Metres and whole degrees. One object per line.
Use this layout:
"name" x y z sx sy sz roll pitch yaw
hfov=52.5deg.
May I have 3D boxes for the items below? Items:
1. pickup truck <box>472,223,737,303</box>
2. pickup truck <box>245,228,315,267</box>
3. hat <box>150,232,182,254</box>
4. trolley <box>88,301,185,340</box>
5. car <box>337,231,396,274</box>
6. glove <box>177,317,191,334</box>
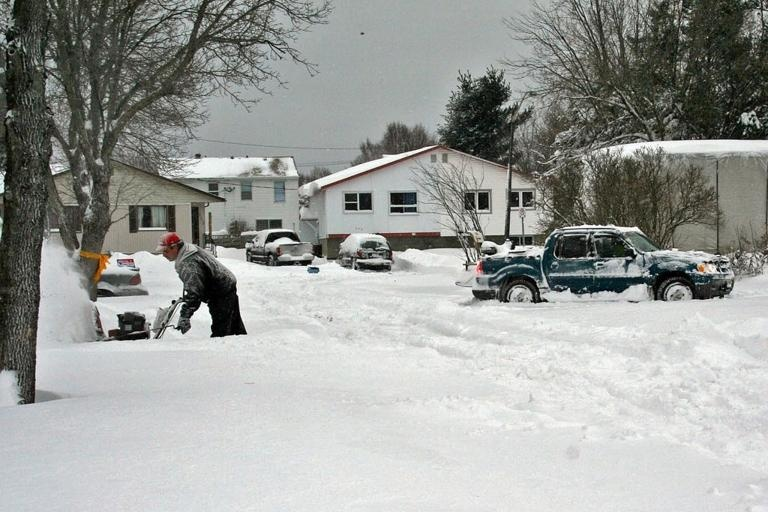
"pickup truck" 4.776 0.309 17.647 4.680 1.682 2.209 -3 -1 18
"pickup truck" -4.755 -0.421 35.455 1.458 1.192 3.230 0 5 -25
"hat" -3.538 -0.237 12.923 0.373 0.352 1.017 0 8 -16
"trolley" -4.466 1.336 14.061 1.605 0.722 0.973 1 -2 -2
"car" -0.857 -0.177 33.588 1.300 1.028 2.215 -1 10 -14
"glove" -3.115 1.076 12.165 0.167 0.284 0.302 1 8 -8
